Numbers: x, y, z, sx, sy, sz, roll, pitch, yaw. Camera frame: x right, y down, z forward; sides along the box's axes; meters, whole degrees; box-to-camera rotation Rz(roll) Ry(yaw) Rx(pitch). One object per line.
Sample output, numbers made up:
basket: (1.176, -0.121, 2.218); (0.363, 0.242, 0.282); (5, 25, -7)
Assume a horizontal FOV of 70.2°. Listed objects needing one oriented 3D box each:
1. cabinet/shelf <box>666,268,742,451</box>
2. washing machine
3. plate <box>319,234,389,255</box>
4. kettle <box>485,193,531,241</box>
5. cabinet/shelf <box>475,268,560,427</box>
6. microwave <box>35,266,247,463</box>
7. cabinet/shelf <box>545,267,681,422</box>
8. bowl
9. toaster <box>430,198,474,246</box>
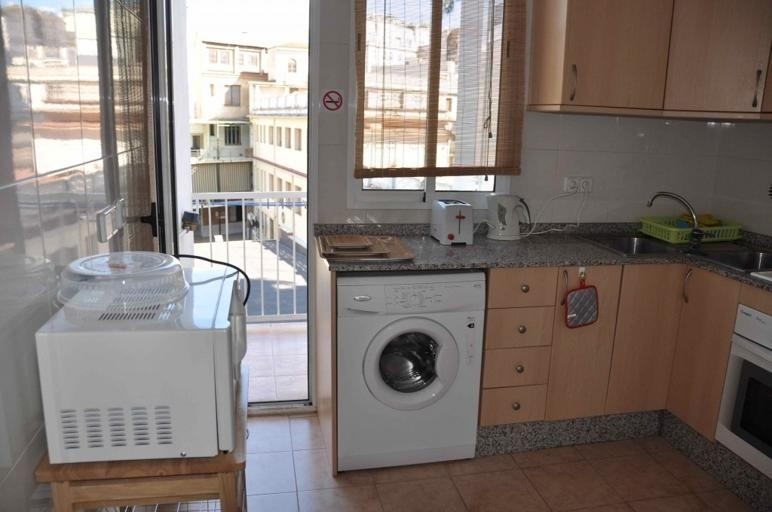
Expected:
cabinet/shelf: (1.729, 0.528, 3.020); (0.284, 0.734, 0.346); (3, 12, 6)
washing machine: (0.072, 0.579, 3.240); (0.690, 1.109, 0.758); (-1, 13, -11)
plate: (-0.193, -0.065, 3.084); (0.369, 0.026, 0.503); (1, 13, -6)
kettle: (0.736, -0.244, 3.375); (0.322, 0.337, 0.219); (-2, 12, -9)
cabinet/shelf: (0.688, 0.477, 3.166); (0.426, 0.862, 0.398); (2, 16, -5)
microwave: (-0.755, 0.366, 1.989); (0.457, 0.526, 0.709); (2, 12, -7)
cabinet/shelf: (1.253, 0.462, 3.094); (0.756, 0.963, 0.311); (-4, 16, -12)
bowl: (-0.890, 0.084, 1.885); (0.236, 0.058, 0.233); (3, 15, -1)
toaster: (0.391, -0.186, 3.266); (0.190, 0.277, 0.195); (1, 14, -23)
